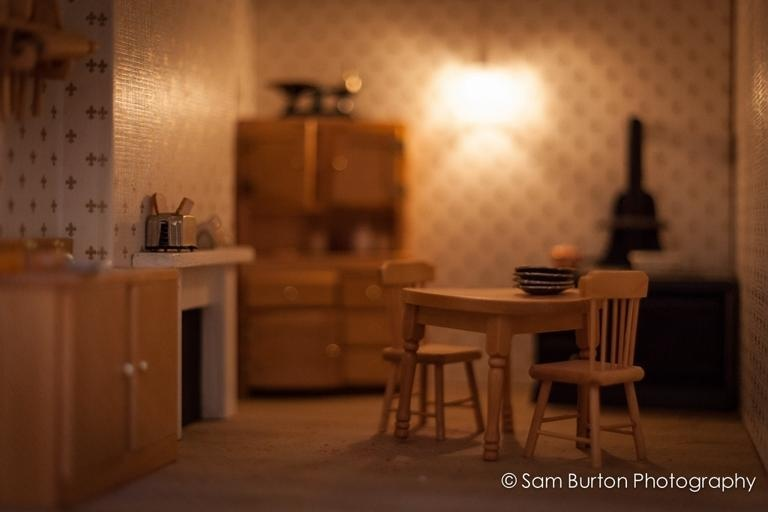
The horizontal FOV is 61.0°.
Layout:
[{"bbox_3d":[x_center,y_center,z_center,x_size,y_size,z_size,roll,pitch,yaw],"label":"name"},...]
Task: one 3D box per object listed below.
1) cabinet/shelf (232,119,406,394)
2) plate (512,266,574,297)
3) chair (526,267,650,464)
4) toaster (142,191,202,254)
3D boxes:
[{"bbox_3d":[-0.480,-0.009,4.734,1.212,1.924,0.480,0,5,-1],"label":"cabinet/shelf"},{"bbox_3d":[0.909,0.135,3.610,0.205,0.089,0.202,0,3,-24],"label":"plate"},{"bbox_3d":[1.205,0.575,3.663,0.573,1.066,0.896,4,7,35],"label":"chair"},{"bbox_3d":[-1.223,-0.191,3.740,0.285,0.353,0.323,1,-4,-9],"label":"toaster"}]
